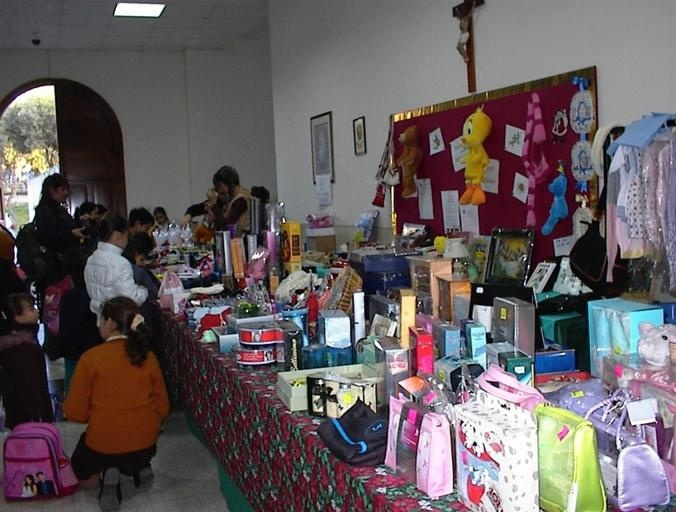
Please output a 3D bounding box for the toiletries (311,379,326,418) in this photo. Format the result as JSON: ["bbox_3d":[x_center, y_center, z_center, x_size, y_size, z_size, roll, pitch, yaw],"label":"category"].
[{"bbox_3d":[-0.070,0.542,1.990,0.068,0.141,0.075,-2,4,-17],"label":"toiletries"}]

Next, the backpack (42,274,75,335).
[{"bbox_3d":[-2.485,0.423,4.563,0.175,0.602,0.385,4,-4,-28],"label":"backpack"}]

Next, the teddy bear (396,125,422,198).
[{"bbox_3d":[0.628,-0.809,4.447,0.208,0.596,0.217,2,5,35],"label":"teddy bear"}]

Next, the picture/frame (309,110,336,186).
[{"bbox_3d":[-0.172,-1.260,5.928,0.059,1.066,0.847,0,-1,-28],"label":"picture/frame"}]

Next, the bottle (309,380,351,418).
[{"bbox_3d":[-0.042,0.527,1.950,0.156,0.182,0.104,2,-2,15],"label":"bottle"}]

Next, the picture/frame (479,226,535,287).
[{"bbox_3d":[1.052,0.008,3.181,0.251,0.373,0.031,4,-26,28],"label":"picture/frame"}]

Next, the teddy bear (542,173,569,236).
[{"bbox_3d":[1.343,-0.321,3.200,0.053,0.395,0.178,-3,5,-23],"label":"teddy bear"}]

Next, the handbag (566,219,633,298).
[{"bbox_3d":[1.256,0.028,2.470,0.159,0.373,0.351,0,4,-15],"label":"handbag"}]

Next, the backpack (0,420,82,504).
[{"bbox_3d":[-1.786,1.249,3.071,0.409,0.464,0.233,-1,9,-9],"label":"backpack"}]
